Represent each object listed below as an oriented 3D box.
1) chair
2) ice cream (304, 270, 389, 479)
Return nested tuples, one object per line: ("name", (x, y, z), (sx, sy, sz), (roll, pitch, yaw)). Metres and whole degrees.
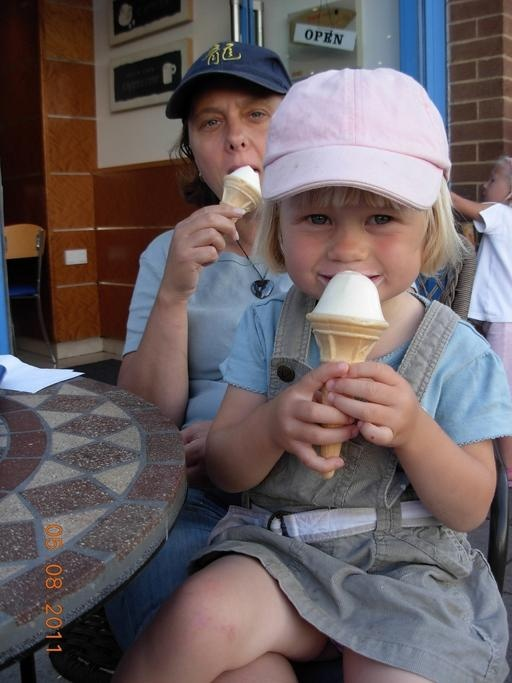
("chair", (-1.907, -0.452, 5.286), (0.568, 1.332, 0.517), (-9, 15, -37))
("ice cream", (0.125, 0.021, 0.839), (0.172, 0.282, 0.080), (3, 13, 12))
